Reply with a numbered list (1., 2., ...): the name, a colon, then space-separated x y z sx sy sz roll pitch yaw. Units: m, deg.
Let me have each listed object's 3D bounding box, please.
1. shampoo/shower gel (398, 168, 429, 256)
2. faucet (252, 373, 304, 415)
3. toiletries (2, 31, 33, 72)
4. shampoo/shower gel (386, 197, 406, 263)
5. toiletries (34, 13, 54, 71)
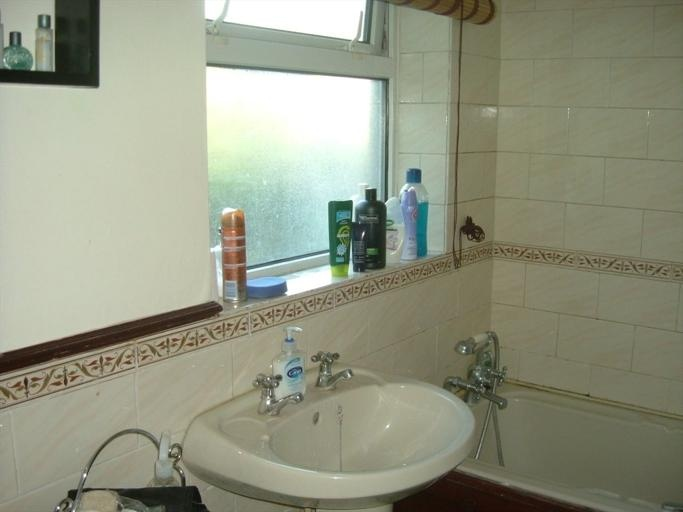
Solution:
1. shampoo/shower gel: 0.302 -0.164 2.409 0.103 0.397 0.111 15 20 33
2. faucet: -0.193 0.382 1.673 0.166 0.131 0.078 2 1 15
3. toiletries: -0.681 -0.429 1.242 0.013 0.080 0.058 5 11 45
4. shampoo/shower gel: 0.209 -0.098 2.337 0.069 0.247 0.098 -2 8 8
5. toiletries: -0.640 -0.457 1.272 0.040 0.121 0.013 -7 8 -29
